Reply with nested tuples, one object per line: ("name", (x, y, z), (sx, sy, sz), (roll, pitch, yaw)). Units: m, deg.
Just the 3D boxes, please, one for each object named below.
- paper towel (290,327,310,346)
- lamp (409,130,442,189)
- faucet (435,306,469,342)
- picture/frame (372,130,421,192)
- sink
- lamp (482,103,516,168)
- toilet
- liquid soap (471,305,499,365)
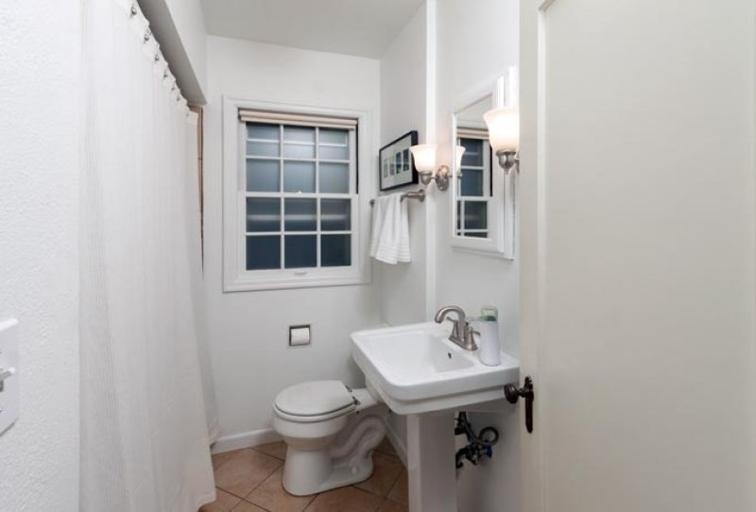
("paper towel", (-0.481, 0.493, 3.003), (0.111, 0.112, 0.060), (2, 0, -18))
("lamp", (0.217, -0.418, 2.335), (0.136, 0.165, 0.143), (-11, -8, 39))
("faucet", (0.300, 0.283, 2.011), (0.147, 0.164, 0.122), (-2, 12, -10))
("picture/frame", (0.090, -0.540, 2.838), (0.041, 0.289, 0.446), (4, 16, 26))
("sink", (0.210, 0.434, 1.991), (0.550, 0.167, 0.604), (-4, 8, -18))
("lamp", (0.460, -0.423, 1.797), (0.137, 0.227, 0.121), (-3, 8, -14))
("toilet", (-0.270, 0.958, 2.668), (0.606, 0.445, 0.442), (-5, 10, -27))
("liquid soap", (0.408, 0.291, 1.862), (0.084, 0.200, 0.169), (0, 8, 5))
